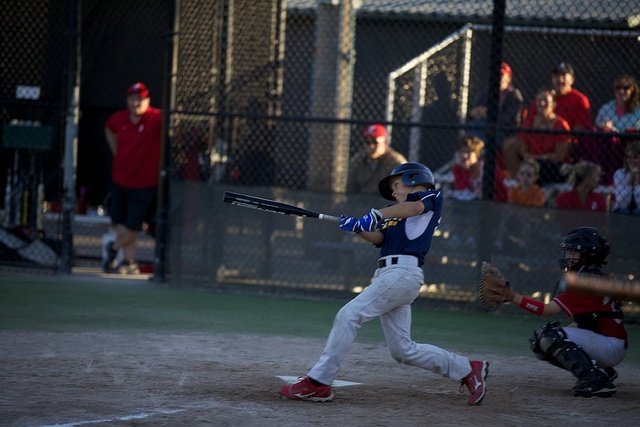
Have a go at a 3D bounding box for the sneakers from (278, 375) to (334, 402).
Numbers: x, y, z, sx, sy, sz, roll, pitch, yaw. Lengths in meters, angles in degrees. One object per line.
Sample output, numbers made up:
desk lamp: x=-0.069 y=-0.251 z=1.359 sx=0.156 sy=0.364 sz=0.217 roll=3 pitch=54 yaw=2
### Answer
sneakers: x=-0.112 y=1.591 z=9.667 sx=0.528 sy=0.231 sz=0.187 roll=5 pitch=1 yaw=-2

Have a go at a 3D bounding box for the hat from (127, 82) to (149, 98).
hat: x=-2.199 y=-1.461 z=12.820 sx=0.260 sy=0.182 sz=0.350 roll=-3 pitch=16 yaw=-5

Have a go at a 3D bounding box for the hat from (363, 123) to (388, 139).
hat: x=0.682 y=-0.954 z=12.628 sx=0.321 sy=0.149 sz=0.246 roll=5 pitch=0 yaw=-20

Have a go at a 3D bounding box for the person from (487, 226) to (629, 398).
person: x=2.186 y=0.904 z=10.195 sx=1.611 sy=1.528 sz=1.108 roll=-1 pitch=9 yaw=-30

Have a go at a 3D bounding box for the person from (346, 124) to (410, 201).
person: x=0.720 y=-0.594 z=12.802 sx=0.985 sy=0.908 sz=0.545 roll=0 pitch=0 yaw=26

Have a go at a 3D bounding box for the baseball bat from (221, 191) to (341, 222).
baseball bat: x=-0.358 y=-0.075 z=11.423 sx=1.117 sy=0.123 sz=0.120 roll=12 pitch=1 yaw=-4

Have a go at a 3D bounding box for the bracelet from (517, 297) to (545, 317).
bracelet: x=1.959 y=0.862 z=9.952 sx=0.218 sy=0.076 sz=0.158 roll=16 pitch=8 yaw=-16

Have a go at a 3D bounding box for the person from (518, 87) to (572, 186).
person: x=2.559 y=-0.851 z=12.192 sx=0.746 sy=1.105 sz=0.694 roll=-7 pitch=10 yaw=-26

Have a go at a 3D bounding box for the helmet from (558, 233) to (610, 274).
helmet: x=2.485 y=0.353 z=10.039 sx=0.440 sy=0.387 sz=0.364 roll=5 pitch=-2 yaw=8

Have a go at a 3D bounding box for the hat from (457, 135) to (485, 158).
hat: x=1.781 y=-0.779 z=12.615 sx=0.232 sy=0.097 sz=0.257 roll=15 pitch=-12 yaw=-27

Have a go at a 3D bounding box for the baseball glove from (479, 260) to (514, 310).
baseball glove: x=1.664 y=0.692 z=9.945 sx=0.316 sy=0.397 sz=0.113 roll=-40 pitch=-18 yaw=22

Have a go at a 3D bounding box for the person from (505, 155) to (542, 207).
person: x=2.375 y=-0.360 z=12.270 sx=0.563 sy=0.723 sz=0.504 roll=-1 pitch=-6 yaw=13

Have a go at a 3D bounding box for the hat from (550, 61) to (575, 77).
hat: x=2.748 y=-1.620 z=12.023 sx=0.265 sy=0.153 sz=0.069 roll=5 pitch=0 yaw=-15

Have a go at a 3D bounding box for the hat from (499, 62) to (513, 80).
hat: x=2.086 y=-1.605 z=11.992 sx=0.167 sy=0.162 sz=0.063 roll=6 pitch=0 yaw=-45

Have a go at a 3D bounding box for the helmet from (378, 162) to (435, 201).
helmet: x=0.803 y=-0.330 z=9.918 sx=0.474 sy=0.254 sz=0.315 roll=-5 pitch=-32 yaw=3

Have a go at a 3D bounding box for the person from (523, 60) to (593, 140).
person: x=2.717 y=-1.160 z=12.179 sx=0.607 sy=1.078 sz=0.755 roll=-12 pitch=23 yaw=-40

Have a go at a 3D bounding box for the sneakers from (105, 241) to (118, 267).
sneakers: x=-2.445 y=0.485 z=12.746 sx=0.109 sy=0.310 sz=0.215 roll=5 pitch=-13 yaw=-29

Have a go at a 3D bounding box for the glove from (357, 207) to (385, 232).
glove: x=0.458 y=0.071 z=9.697 sx=0.223 sy=0.208 sz=0.158 roll=5 pitch=0 yaw=9

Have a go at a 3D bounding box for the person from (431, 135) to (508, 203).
person: x=1.754 y=-0.477 z=12.541 sx=0.594 sy=0.774 sz=0.308 roll=0 pitch=-14 yaw=22

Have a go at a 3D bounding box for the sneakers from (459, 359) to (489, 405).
sneakers: x=1.407 y=1.508 z=9.708 sx=0.257 sy=0.474 sz=0.160 roll=0 pitch=-7 yaw=-9

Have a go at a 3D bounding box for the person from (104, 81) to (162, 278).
person: x=-2.274 y=-0.400 z=12.767 sx=0.705 sy=2.297 sz=0.385 roll=6 pitch=0 yaw=1

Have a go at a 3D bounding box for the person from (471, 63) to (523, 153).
person: x=2.020 y=-1.271 z=12.228 sx=0.569 sy=0.850 sz=0.578 roll=-3 pitch=15 yaw=-33
